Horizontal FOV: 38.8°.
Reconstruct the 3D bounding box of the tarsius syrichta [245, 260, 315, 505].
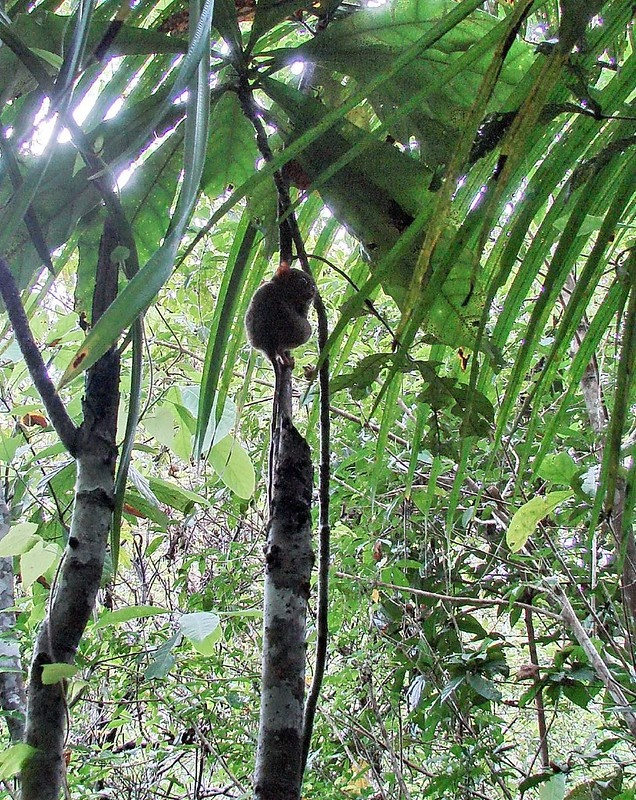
[{"bbox_3d":[-0.049,-0.086,1.092,0.079,0.168,0.052,6,-32,-5],"label":"tarsius syrichta"}]
